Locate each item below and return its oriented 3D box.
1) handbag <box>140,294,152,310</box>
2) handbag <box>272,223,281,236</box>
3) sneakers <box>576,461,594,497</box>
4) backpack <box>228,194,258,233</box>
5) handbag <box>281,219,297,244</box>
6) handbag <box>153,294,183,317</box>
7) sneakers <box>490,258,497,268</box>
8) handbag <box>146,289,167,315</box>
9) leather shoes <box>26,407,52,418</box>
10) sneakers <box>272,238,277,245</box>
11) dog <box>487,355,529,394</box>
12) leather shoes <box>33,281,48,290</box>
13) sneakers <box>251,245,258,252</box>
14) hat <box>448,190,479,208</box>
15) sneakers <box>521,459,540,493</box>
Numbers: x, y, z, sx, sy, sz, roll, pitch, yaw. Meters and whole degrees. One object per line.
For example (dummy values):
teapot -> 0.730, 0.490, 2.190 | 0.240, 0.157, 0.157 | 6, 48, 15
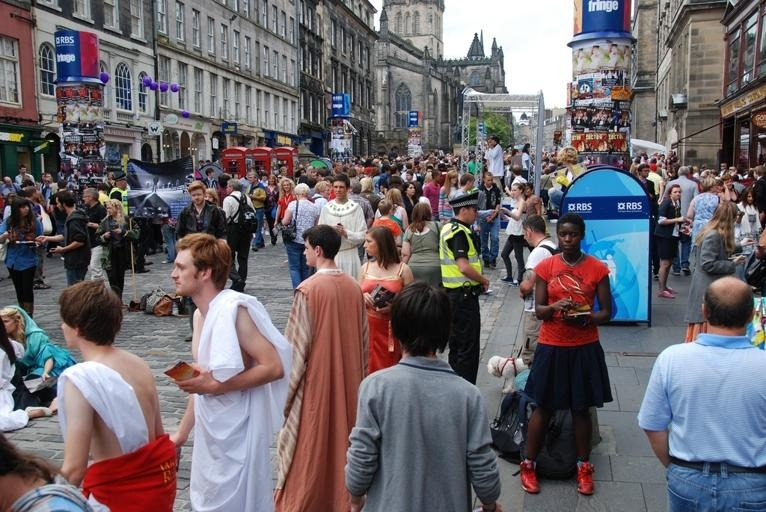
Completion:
handbag -> -4.252, 0.823, 13.041 | 0.107, 0.250, 0.046 | 6, -22, 12
handbag -> -2.853, -0.710, 19.406 | 0.274, 0.347, 0.290 | 1, -27, -12
sneakers -> 2.003, 2.130, 7.141 | 0.159, 0.271, 0.339 | 3, 15, 15
backpack -> -2.675, -0.778, 14.058 | 0.667, 0.792, 0.470 | 3, 7, 33
handbag -> -1.644, -0.444, 12.839 | 0.390, 0.472, 0.220 | -5, -9, 18
handbag -> -3.784, 0.905, 12.896 | 0.277, 0.557, 0.517 | -7, -7, 37
sneakers -> 2.530, 0.176, 16.629 | 0.081, 0.192, 0.258 | -1, -8, 4
handbag -> -4.055, 0.811, 13.002 | 0.308, 0.450, 0.188 | 7, -9, 18
leather shoes -> -4.139, 1.878, 8.756 | 0.163, 0.080, 0.148 | 1, 2, -11
sneakers -> -3.252, -0.426, 21.611 | 0.182, 0.160, 0.272 | 6, -1, -3
dog -> 1.459, 1.300, 8.065 | 0.222, 0.284, 0.549 | 25, -9, -32
leather shoes -> -7.116, 0.614, 15.124 | 0.340, 0.166, 0.133 | -1, 6, -1
sneakers -> -3.635, -0.208, 20.578 | 0.133, 0.155, 0.328 | -3, 3, -8
hat -> 0.976, -0.669, 8.571 | 0.315, 0.236, 0.391 | 0, 15, 5
sneakers -> 1.453, 2.131, 7.174 | 0.196, 0.271, 0.279 | 1, 14, 10
